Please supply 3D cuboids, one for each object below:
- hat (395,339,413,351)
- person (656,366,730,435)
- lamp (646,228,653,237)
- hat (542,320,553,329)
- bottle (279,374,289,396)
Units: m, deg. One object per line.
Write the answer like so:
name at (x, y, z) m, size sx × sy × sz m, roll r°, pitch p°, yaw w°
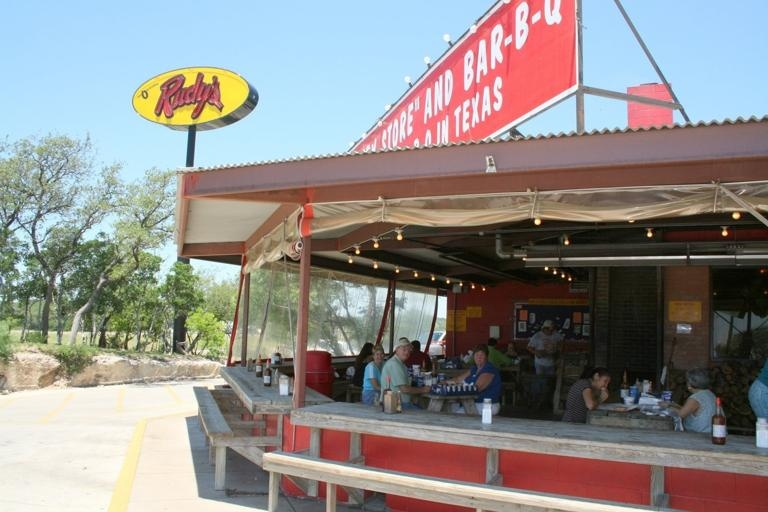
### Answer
hat at (0.353, 1.442, 10.689) m, size 0.234 × 0.174 × 0.298 m, roll 3°, pitch -8°, yaw -13°
person at (4.306, 2.189, 8.964) m, size 0.853 × 1.251 × 0.624 m, roll 0°, pitch 11°, yaw 22°
lamp at (4.634, -0.426, 11.162) m, size 0.136 × 0.195 × 0.142 m, roll 0°, pitch -2°, yaw 19°
hat at (3.995, 1.598, 15.510) m, size 0.236 × 0.172 × 0.341 m, roll -3°, pitch -14°, yaw 36°
bottle at (-1.581, 2.056, 10.285) m, size 0.164 × 0.295 × 0.372 m, roll 5°, pitch -10°, yaw -8°
